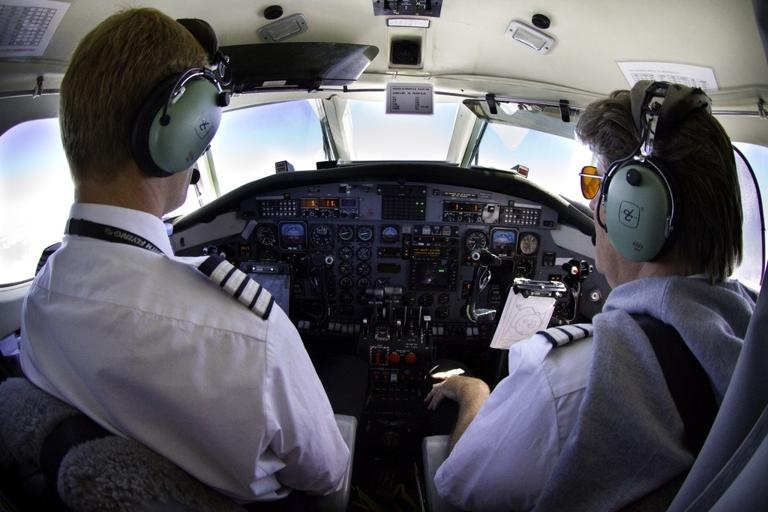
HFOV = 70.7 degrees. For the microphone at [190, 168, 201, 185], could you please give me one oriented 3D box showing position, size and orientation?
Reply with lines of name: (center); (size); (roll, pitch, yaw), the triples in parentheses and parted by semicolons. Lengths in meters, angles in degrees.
microphone: (-0.715, -0.301, 2.052); (0.043, 0.066, 0.065); (3, 89, -27)
